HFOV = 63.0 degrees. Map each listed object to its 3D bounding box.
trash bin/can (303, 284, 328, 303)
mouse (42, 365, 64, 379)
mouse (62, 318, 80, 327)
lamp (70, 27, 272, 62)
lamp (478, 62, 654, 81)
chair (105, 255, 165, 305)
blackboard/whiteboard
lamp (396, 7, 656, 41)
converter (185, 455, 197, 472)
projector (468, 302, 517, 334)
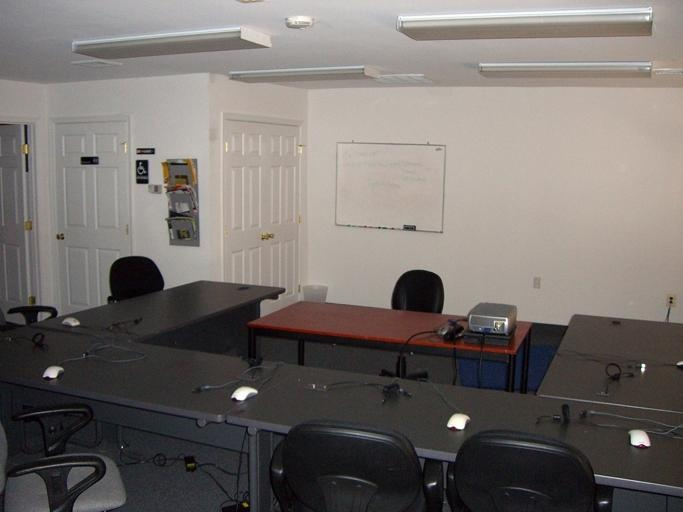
[{"bbox_3d":[-0.348,0.492,7.434,0.346,0.246,0.201,2,0,12],"label":"trash bin/can"},{"bbox_3d":[-1.684,0.669,3.251,0.102,0.052,0.143,-1,12,-10],"label":"mouse"},{"bbox_3d":[-1.979,0.478,4.080,0.094,0.031,0.068,7,10,32],"label":"mouse"},{"bbox_3d":[-1.280,-1.594,4.177,1.518,0.146,0.382,5,12,17],"label":"lamp"},{"bbox_3d":[1.985,-1.653,4.952,1.454,0.101,0.433,4,12,15],"label":"lamp"},{"bbox_3d":[-1.920,0.155,5.380,0.485,0.662,0.430,-5,11,-38],"label":"chair"},{"bbox_3d":[0.613,-0.882,7.093,1.410,1.098,0.051,5,14,17],"label":"blackboard/whiteboard"},{"bbox_3d":[1.126,-1.441,3.461,1.514,0.129,0.292,4,12,12],"label":"lamp"},{"bbox_3d":[-1.042,1.432,3.863,0.052,0.034,0.095,2,14,-17],"label":"converter"},{"bbox_3d":[1.127,0.455,4.130,0.333,0.144,0.442,3,11,17],"label":"projector"}]
